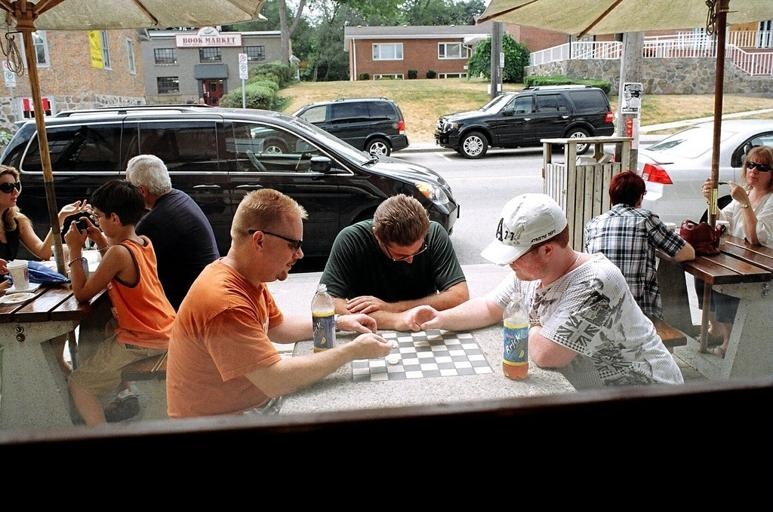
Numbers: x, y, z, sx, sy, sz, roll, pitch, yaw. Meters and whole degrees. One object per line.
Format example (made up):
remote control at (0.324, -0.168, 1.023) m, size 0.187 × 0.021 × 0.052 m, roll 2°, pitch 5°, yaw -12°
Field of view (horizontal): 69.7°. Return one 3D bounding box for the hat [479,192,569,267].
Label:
hat at (0.694, -0.161, 2.960) m, size 0.465 × 0.253 × 0.305 m, roll -33°, pitch 25°, yaw -2°

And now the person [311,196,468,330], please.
person at (0.056, 0.213, 4.142) m, size 1.181 × 0.853 × 1.578 m, roll -2°, pitch -27°, yaw -4°

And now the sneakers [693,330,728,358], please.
sneakers at (2.440, 0.625, 4.149) m, size 0.197 × 0.098 × 0.274 m, roll -9°, pitch 8°, yaw 17°

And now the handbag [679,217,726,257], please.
handbag at (2.531, -0.131, 4.545) m, size 0.355 × 0.307 × 0.262 m, roll 3°, pitch 4°, yaw 21°

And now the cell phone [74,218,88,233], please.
cell phone at (-2.155, -0.219, 3.938) m, size 0.090 × 0.086 × 0.031 m, roll -2°, pitch 3°, yaw 10°

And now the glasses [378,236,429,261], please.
glasses at (0.106, -0.033, 3.826) m, size 0.203 × 0.097 × 0.209 m, roll -6°, pitch 52°, yaw -7°

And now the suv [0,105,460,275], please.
suv at (-2.081, -1.020, 7.347) m, size 4.713 × 1.655 × 2.177 m, roll -3°, pitch 9°, yaw -2°

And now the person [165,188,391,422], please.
person at (-0.698, 0.108, 3.104) m, size 1.210 × 1.588 × 0.984 m, roll -3°, pitch 15°, yaw -15°

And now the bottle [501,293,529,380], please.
bottle at (0.634, 0.382, 2.707) m, size 0.125 × 0.403 × 0.233 m, roll 1°, pitch 16°, yaw 12°
